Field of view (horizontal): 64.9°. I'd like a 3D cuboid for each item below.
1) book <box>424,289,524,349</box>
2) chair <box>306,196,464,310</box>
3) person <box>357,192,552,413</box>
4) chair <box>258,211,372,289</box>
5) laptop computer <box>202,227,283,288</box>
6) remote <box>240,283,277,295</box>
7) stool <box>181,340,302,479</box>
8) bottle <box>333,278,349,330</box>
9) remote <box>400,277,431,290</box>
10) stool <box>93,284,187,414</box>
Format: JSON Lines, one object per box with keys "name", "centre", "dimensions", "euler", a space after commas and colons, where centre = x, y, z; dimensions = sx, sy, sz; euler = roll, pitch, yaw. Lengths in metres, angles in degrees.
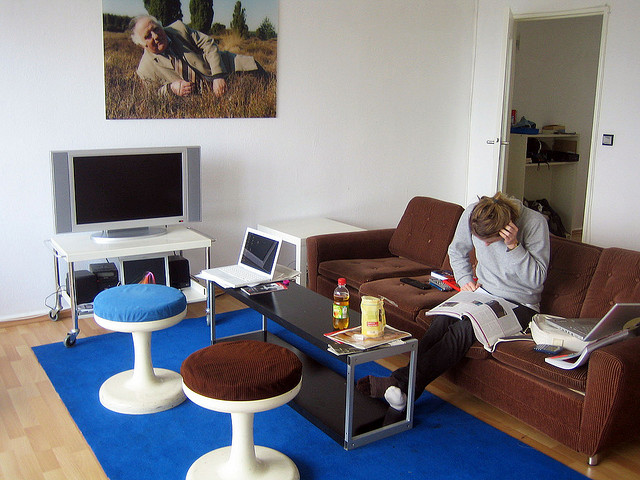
{"name": "book", "centre": [0.924, 0.425, 2.957], "dimensions": [0.328, 0.139, 0.464], "euler": [-12, 20, -31]}
{"name": "chair", "centre": [0.490, 0.014, 4.127], "dimensions": [0.988, 0.829, 0.956], "euler": [-7, 19, -31]}
{"name": "person", "centre": [0.775, 0.316, 2.946], "dimensions": [1.382, 0.801, 0.746], "euler": [-30, 26, -34]}
{"name": "chair", "centre": [-0.066, -0.114, 4.642], "dimensions": [0.726, 0.772, 0.758], "euler": [-12, 25, -28]}
{"name": "laptop computer", "centre": [-0.526, 0.107, 3.382], "dimensions": [0.461, 0.284, 0.405], "euler": [13, 17, 43]}
{"name": "remote", "centre": [-0.388, 0.315, 3.242], "dimensions": [0.224, 0.025, 0.110], "euler": [-9, 18, -26]}
{"name": "stool", "centre": [-0.386, 0.745, 2.525], "dimensions": [0.572, 0.649, 0.584], "euler": [-7, 18, -23]}
{"name": "bottle", "centre": [0.115, 0.366, 2.757], "dimensions": [0.087, 0.212, 0.125], "euler": [-1, 16, 1]}
{"name": "remote", "centre": [0.680, 0.306, 3.600], "dimensions": [0.073, 0.024, 0.161], "euler": [-5, 13, -33]}
{"name": "stool", "centre": [-1.085, 0.653, 3.104], "dimensions": [0.533, 0.659, 0.567], "euler": [-2, 9, -26]}
